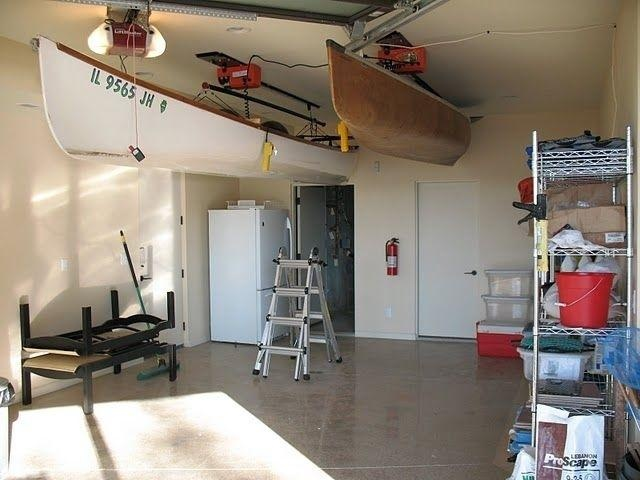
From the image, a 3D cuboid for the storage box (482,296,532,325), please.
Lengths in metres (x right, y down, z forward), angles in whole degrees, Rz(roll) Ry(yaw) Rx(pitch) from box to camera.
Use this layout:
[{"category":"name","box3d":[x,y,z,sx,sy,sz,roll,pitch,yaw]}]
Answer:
[{"category":"storage box","box3d":[2.434,0.963,6.932,0.720,0.381,0.495,4,-10,-11]}]

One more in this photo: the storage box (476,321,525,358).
[{"category":"storage box","box3d":[2.364,1.332,6.879,0.712,0.440,0.523,3,-5,-2]}]

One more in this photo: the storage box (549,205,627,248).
[{"category":"storage box","box3d":[1.849,-0.108,3.497,0.496,0.266,0.074,1,7,12]}]

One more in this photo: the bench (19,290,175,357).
[{"category":"bench","box3d":[-2.292,0.781,5.342,0.793,0.354,0.851,-1,1,29]}]

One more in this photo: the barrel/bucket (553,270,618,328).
[{"category":"barrel/bucket","box3d":[1.736,0.397,3.335,0.383,0.323,0.390,1,-5,0]}]

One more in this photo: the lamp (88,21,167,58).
[{"category":"lamp","box3d":[-1.683,-1.733,4.433,0.594,0.241,0.317,2,2,-12]}]

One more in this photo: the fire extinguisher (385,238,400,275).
[{"category":"fire extinguisher","box3d":[1.084,0.248,7.582,0.185,0.576,0.174,1,8,17]}]

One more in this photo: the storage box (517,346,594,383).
[{"category":"storage box","box3d":[1.692,0.880,3.590,0.484,0.164,0.341,0,0,21]}]

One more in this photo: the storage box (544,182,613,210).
[{"category":"storage box","box3d":[1.908,-0.326,3.727,0.397,0.204,0.263,-3,-11,17]}]

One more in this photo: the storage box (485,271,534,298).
[{"category":"storage box","box3d":[2.524,0.585,6.717,0.510,0.267,0.344,-1,-3,27]}]

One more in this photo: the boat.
[{"category":"boat","box3d":[-0.808,-1.031,5.681,0.939,0.745,4.517,3,-2,28]}]
